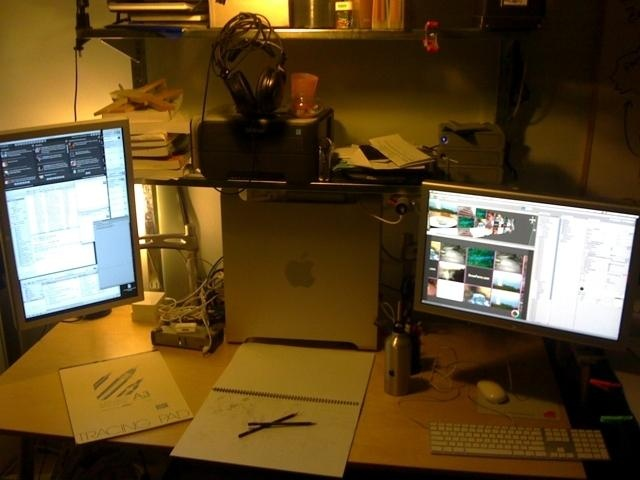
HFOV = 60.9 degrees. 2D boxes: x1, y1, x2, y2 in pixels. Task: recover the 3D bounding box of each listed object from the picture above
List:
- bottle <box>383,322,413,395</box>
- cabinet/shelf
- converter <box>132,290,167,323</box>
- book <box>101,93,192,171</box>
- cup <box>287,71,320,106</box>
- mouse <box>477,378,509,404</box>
[{"bbox_3d":[0.245,0.375,1.735,0.099,0.227,0.097,1,12,0],"label":"bottle"},{"bbox_3d":[-0.029,-0.428,1.921,1.313,0.615,0.502,4,13,3],"label":"cabinet/shelf"},{"bbox_3d":[-0.666,0.220,2.103,0.099,0.085,0.180,3,23,3],"label":"converter"},{"bbox_3d":[-0.545,-0.337,1.739,0.291,0.175,0.254,0,26,-1],"label":"book"},{"bbox_3d":[-0.054,-0.505,1.835,0.108,0.113,0.108,-1,22,0],"label":"cup"},{"bbox_3d":[0.538,0.480,1.713,0.101,0.043,0.067,6,20,24],"label":"mouse"}]
